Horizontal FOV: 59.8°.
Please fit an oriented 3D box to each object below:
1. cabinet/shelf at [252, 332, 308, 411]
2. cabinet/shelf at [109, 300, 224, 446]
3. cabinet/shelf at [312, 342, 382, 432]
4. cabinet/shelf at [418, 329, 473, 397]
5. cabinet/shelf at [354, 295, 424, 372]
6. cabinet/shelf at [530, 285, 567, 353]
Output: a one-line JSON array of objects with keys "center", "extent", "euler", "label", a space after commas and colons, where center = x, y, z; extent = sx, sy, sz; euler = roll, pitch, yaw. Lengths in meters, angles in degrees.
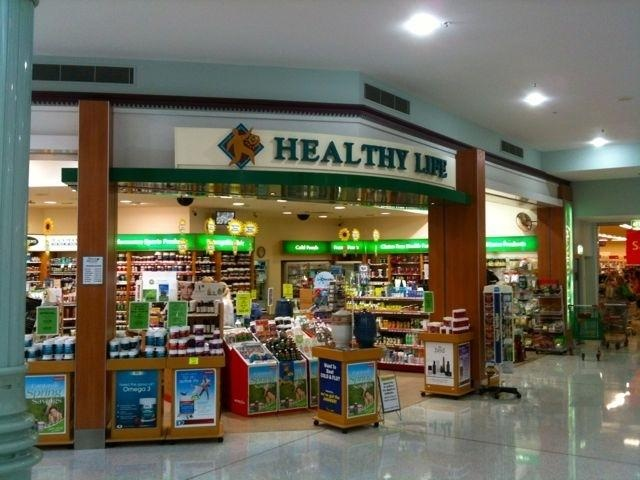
[{"center": [-0.608, 2.144, 9.266], "extent": [0.710, 0.891, 1.281], "euler": [-5, 11, -14], "label": "cabinet/shelf"}, {"center": [-2.160, 1.888, 8.037], "extent": [1.630, 1.596, 1.427], "euler": [2, -7, -17], "label": "cabinet/shelf"}, {"center": [0.618, 2.117, 8.403], "extent": [1.044, 1.458, 1.018], "euler": [2, -5, -36], "label": "cabinet/shelf"}, {"center": [2.196, 2.126, 9.680], "extent": [0.856, 1.087, 0.815], "euler": [-2, -6, 22], "label": "cabinet/shelf"}, {"center": [1.182, 1.830, 11.811], "extent": [2.236, 1.875, 0.754], "euler": [9, -12, -33], "label": "cabinet/shelf"}, {"center": [5.665, 1.896, 13.662], "extent": [0.770, 1.675, 0.612], "euler": [1, 2, 25], "label": "cabinet/shelf"}]
